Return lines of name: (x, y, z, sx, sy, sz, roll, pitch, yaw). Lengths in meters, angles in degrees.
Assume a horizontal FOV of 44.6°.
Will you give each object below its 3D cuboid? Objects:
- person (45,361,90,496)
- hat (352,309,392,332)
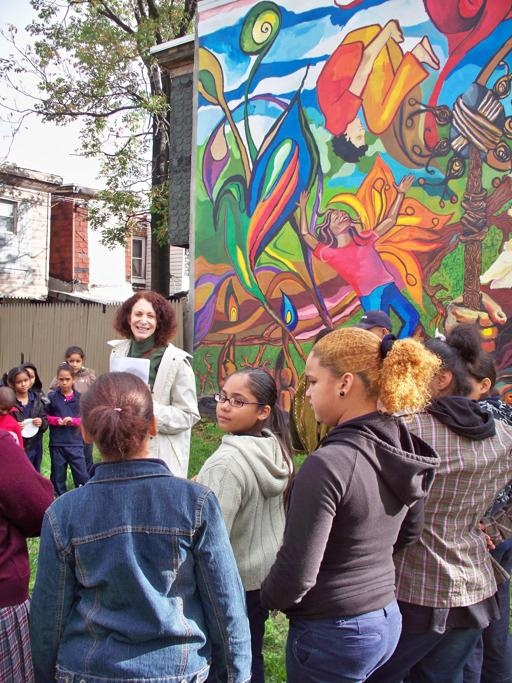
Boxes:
person: (-2.070, 1.037, 6.843, 0.520, 1.472, 0.473, -2, 14, -25)
hat: (0.737, -0.127, 4.015, 0.236, 0.127, 0.158, 7, 0, 6)
